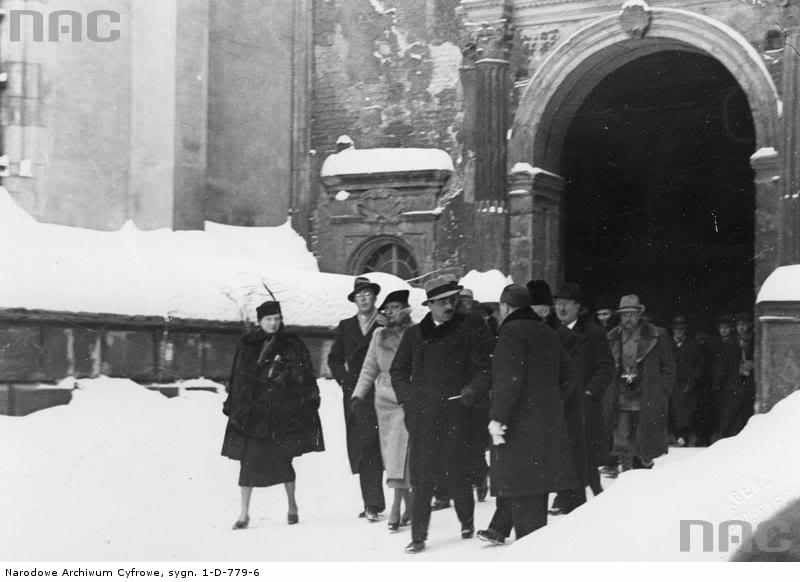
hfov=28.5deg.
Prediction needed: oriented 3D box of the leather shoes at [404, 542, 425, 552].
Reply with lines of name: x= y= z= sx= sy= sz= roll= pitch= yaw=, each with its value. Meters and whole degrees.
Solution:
leather shoes: x=0.141 y=2.508 z=15.342 sx=0.175 sy=0.088 sz=0.086 roll=3 pitch=-10 yaw=3

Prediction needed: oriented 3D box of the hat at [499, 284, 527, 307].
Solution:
hat: x=1.102 y=0.052 z=15.169 sx=0.281 sy=0.224 sz=0.213 roll=0 pitch=-2 yaw=-1

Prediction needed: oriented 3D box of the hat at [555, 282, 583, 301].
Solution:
hat: x=1.813 y=0.012 z=16.853 sx=0.229 sy=0.079 sz=0.246 roll=3 pitch=-8 yaw=18

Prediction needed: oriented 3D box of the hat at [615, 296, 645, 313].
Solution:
hat: x=2.612 y=0.139 z=17.877 sx=0.308 sy=0.120 sz=0.321 roll=-4 pitch=-10 yaw=13

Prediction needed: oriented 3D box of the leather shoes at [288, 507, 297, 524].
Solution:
leather shoes: x=-1.104 y=2.333 z=16.300 sx=0.085 sy=0.154 sz=0.047 roll=-2 pitch=-13 yaw=-5

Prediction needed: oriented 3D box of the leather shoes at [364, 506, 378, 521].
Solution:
leather shoes: x=-0.298 y=2.322 z=16.345 sx=0.143 sy=0.123 sz=0.162 roll=7 pitch=-1 yaw=-18

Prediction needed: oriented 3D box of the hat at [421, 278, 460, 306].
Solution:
hat: x=0.345 y=0.014 z=15.697 sx=0.374 sy=0.126 sz=0.326 roll=-19 pitch=-2 yaw=42

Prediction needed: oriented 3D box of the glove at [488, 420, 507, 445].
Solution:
glove: x=0.918 y=1.349 z=15.001 sx=0.247 sy=0.200 sz=0.086 roll=0 pitch=8 yaw=1

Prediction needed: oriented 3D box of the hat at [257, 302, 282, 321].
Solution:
hat: x=-1.369 y=0.217 z=16.329 sx=0.239 sy=0.127 sz=0.211 roll=-1 pitch=-4 yaw=-11
